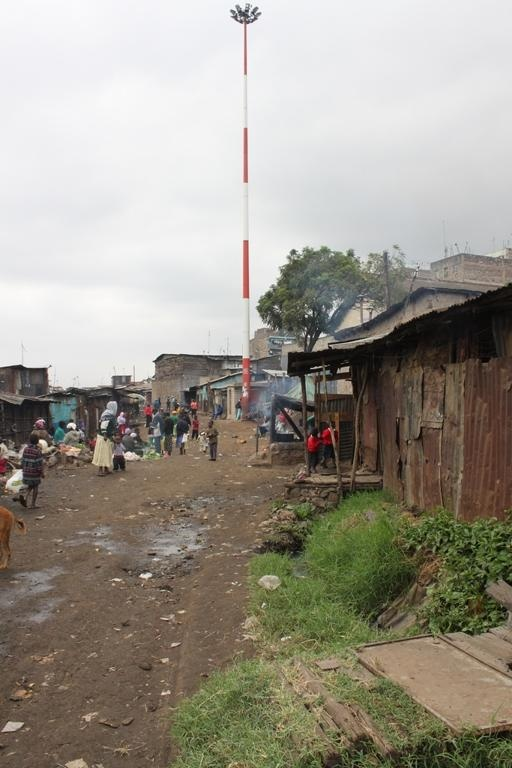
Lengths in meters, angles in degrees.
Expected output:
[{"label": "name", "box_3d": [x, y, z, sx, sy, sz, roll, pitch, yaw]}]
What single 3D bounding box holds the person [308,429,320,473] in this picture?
[{"label": "person", "box_3d": [1.137, 1.362, 14.670, 0.240, 0.740, 0.853, -10, 3, 4]}]
